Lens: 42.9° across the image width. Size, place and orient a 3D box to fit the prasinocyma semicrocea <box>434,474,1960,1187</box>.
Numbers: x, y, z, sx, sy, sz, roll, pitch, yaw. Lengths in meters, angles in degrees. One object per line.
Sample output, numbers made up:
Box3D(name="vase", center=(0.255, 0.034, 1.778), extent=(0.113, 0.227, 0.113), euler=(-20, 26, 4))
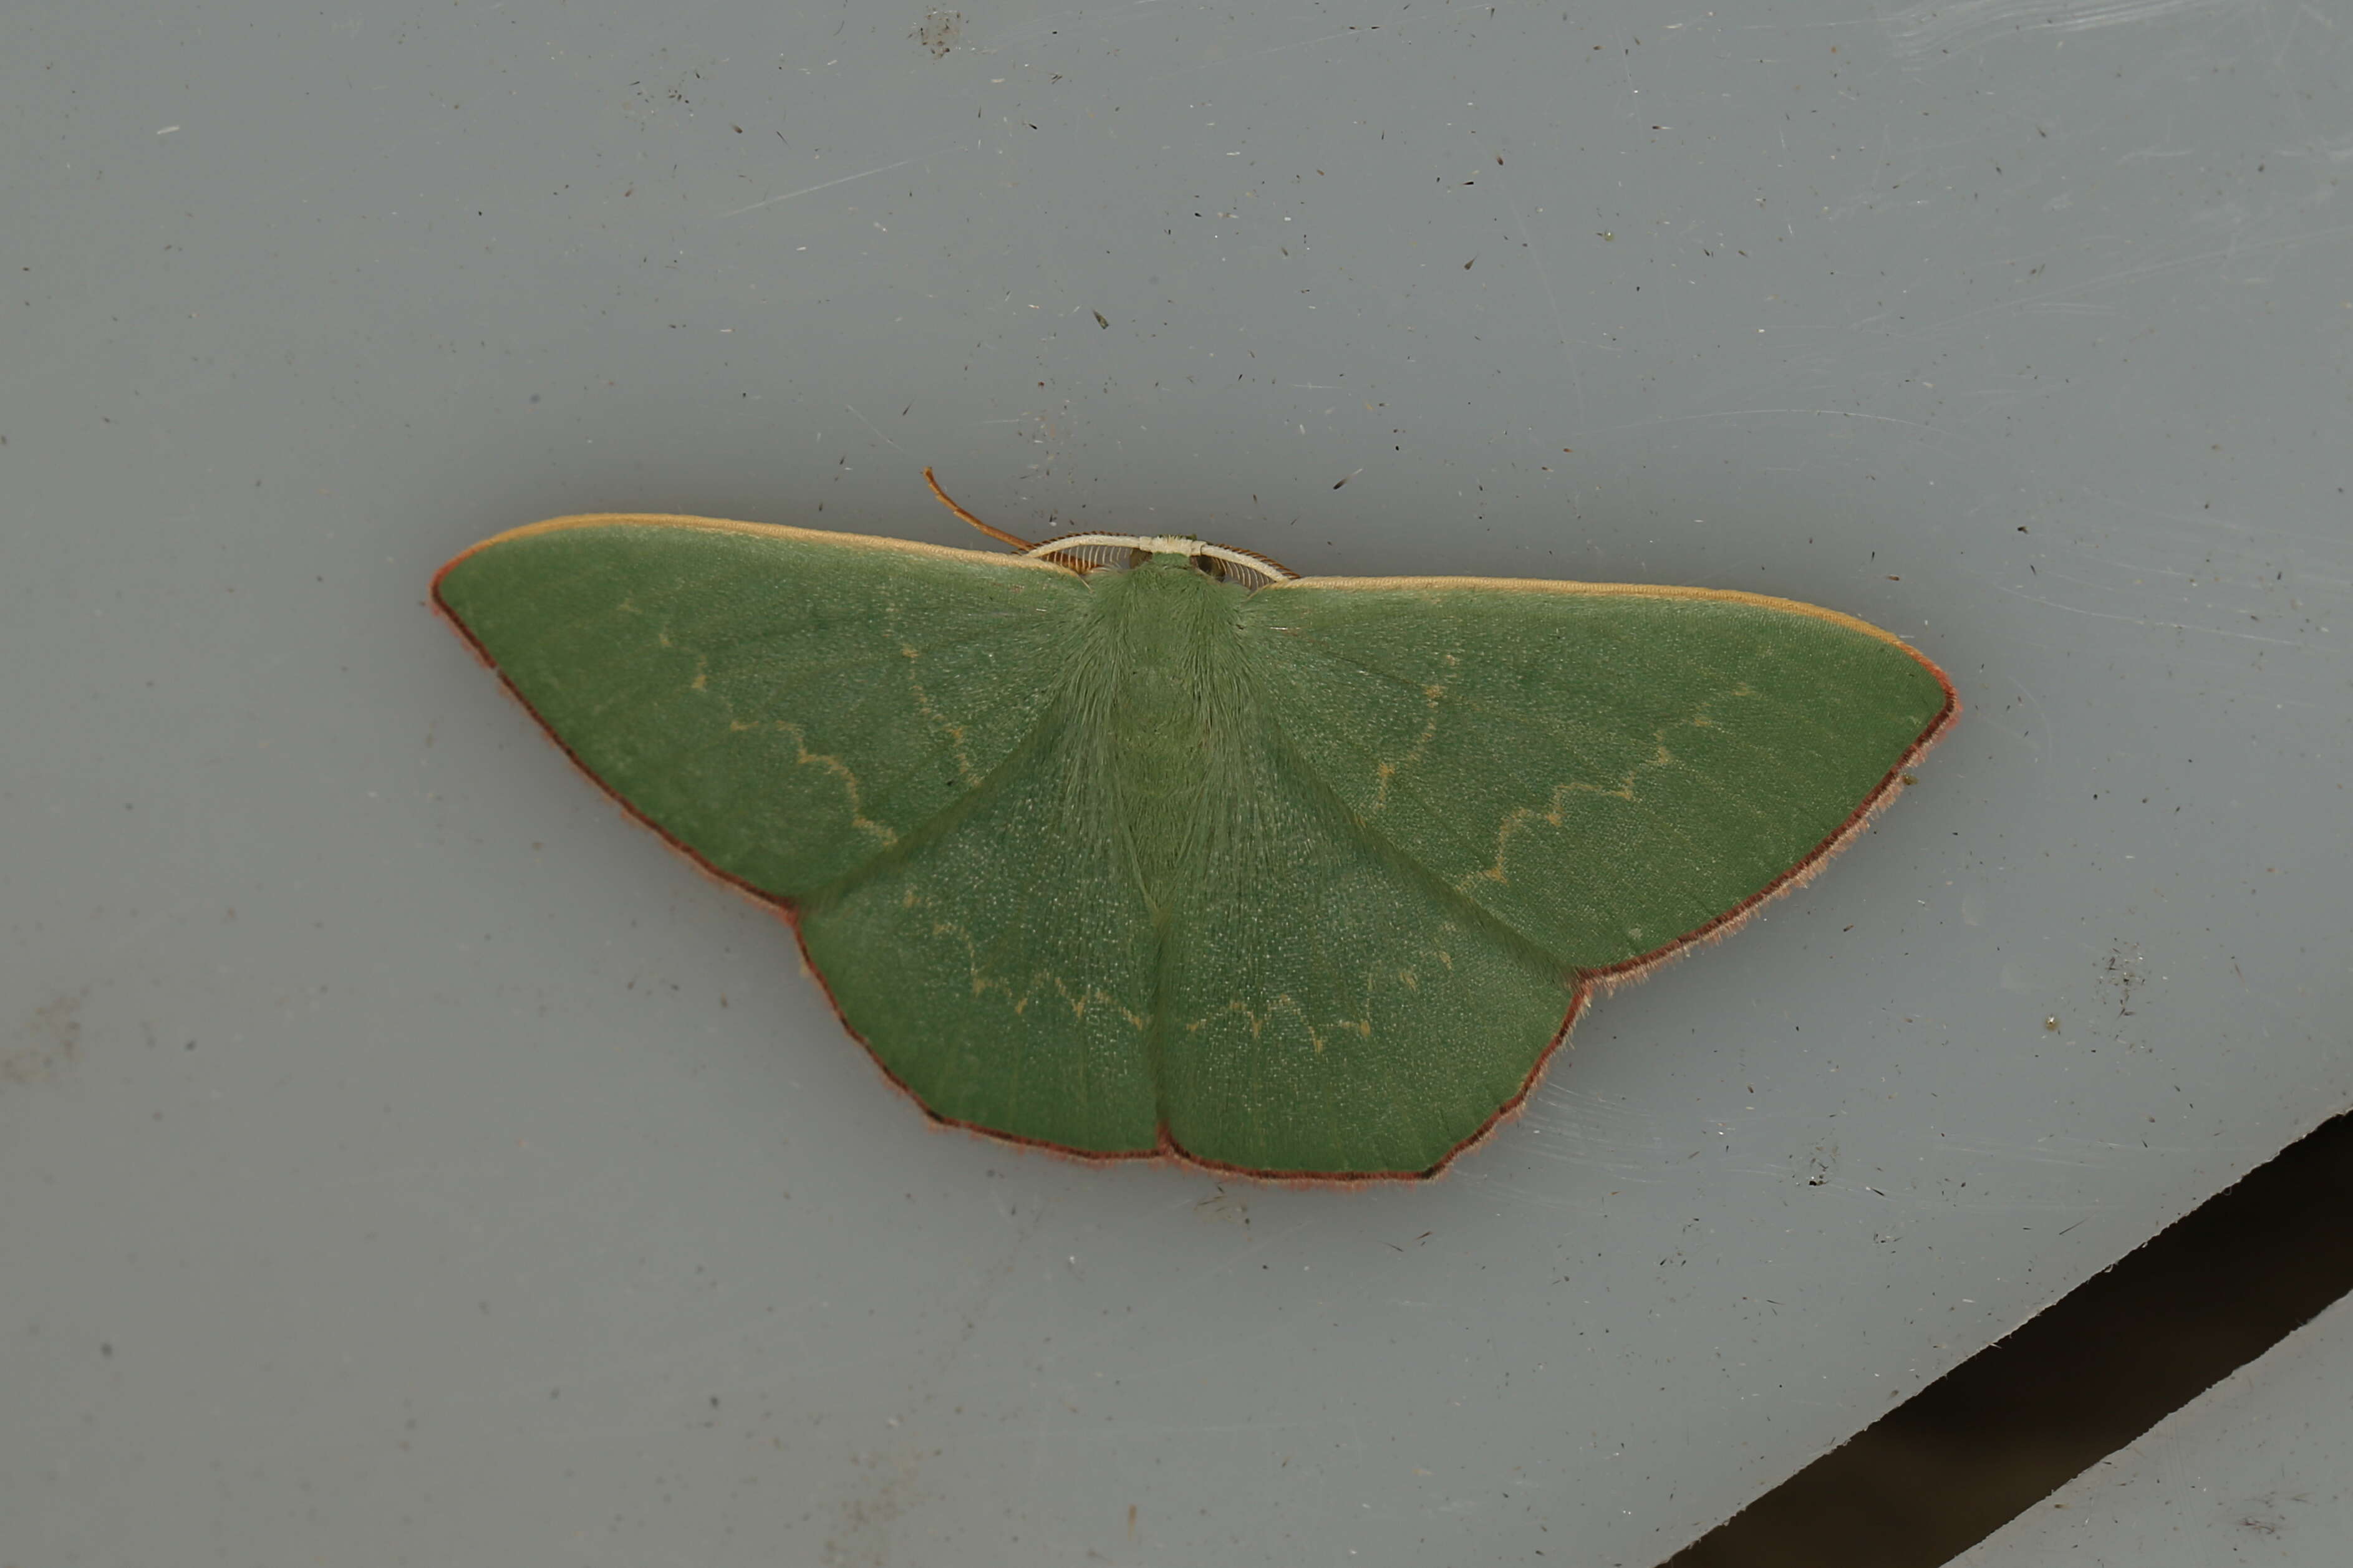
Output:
Box3D(name="prasinocyma semicrocea", center=(-0.012, 0.258, 11.776), extent=(5.867, 0.509, 3.078), euler=(5, 58, -4))
